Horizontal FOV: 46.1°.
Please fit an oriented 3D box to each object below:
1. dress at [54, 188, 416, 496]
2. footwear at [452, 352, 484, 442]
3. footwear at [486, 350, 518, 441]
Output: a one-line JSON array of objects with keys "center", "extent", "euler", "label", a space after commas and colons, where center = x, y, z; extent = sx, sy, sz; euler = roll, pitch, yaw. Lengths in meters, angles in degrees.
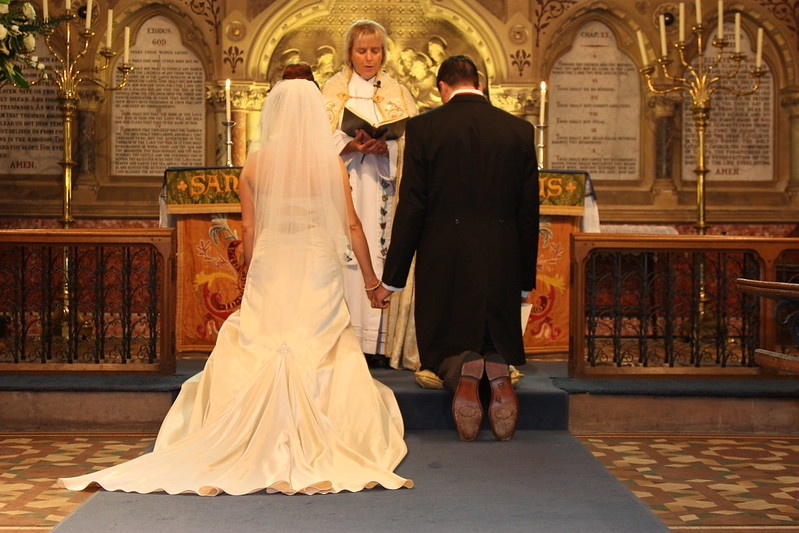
[{"center": [-0.991, 0.682, 7.248], "extent": [2.281, 1.562, 2.442], "euler": [1, 3, -4], "label": "dress"}, {"center": [0.500, 0.992, 7.020], "extent": [0.226, 0.579, 0.232], "euler": [1, 3, -3], "label": "footwear"}, {"center": [0.779, 0.986, 7.090], "extent": [0.237, 0.589, 0.181], "euler": [-2, 6, 2], "label": "footwear"}]
